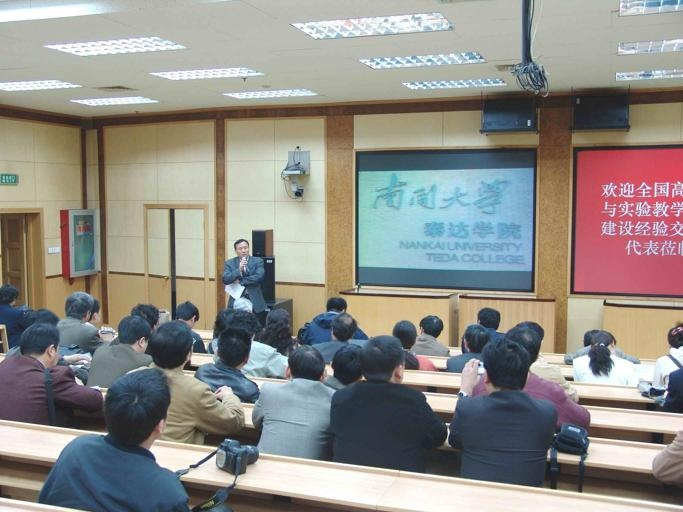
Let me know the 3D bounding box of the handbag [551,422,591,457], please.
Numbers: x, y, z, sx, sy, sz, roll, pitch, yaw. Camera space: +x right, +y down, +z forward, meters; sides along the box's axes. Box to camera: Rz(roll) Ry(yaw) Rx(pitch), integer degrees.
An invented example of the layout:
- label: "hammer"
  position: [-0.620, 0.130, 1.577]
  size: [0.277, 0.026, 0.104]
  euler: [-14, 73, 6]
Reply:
- label: "handbag"
  position: [1.221, 0.934, 3.028]
  size: [0.159, 0.152, 0.114]
  euler: [15, 29, 12]

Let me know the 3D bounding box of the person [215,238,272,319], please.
- label: "person"
  position: [-1.359, 0.514, 8.051]
  size: [0.558, 1.499, 0.467]
  euler: [-4, 20, -8]

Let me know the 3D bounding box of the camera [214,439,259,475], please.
- label: "camera"
  position: [-0.526, 0.994, 2.875]
  size: [0.180, 0.138, 0.204]
  euler: [1, -9, 29]

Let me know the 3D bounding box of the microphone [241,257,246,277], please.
- label: "microphone"
  position: [-1.350, 0.138, 7.837]
  size: [0.092, 0.246, 0.082]
  euler: [0, 1, -11]

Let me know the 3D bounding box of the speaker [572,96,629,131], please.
- label: "speaker"
  position: [3.295, -1.828, 7.400]
  size: [0.697, 0.472, 0.395]
  euler: [-1, 2, 6]

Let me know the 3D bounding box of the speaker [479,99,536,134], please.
- label: "speaker"
  position: [2.212, -1.855, 7.635]
  size: [0.690, 0.437, 0.403]
  euler: [2, 9, 22]
